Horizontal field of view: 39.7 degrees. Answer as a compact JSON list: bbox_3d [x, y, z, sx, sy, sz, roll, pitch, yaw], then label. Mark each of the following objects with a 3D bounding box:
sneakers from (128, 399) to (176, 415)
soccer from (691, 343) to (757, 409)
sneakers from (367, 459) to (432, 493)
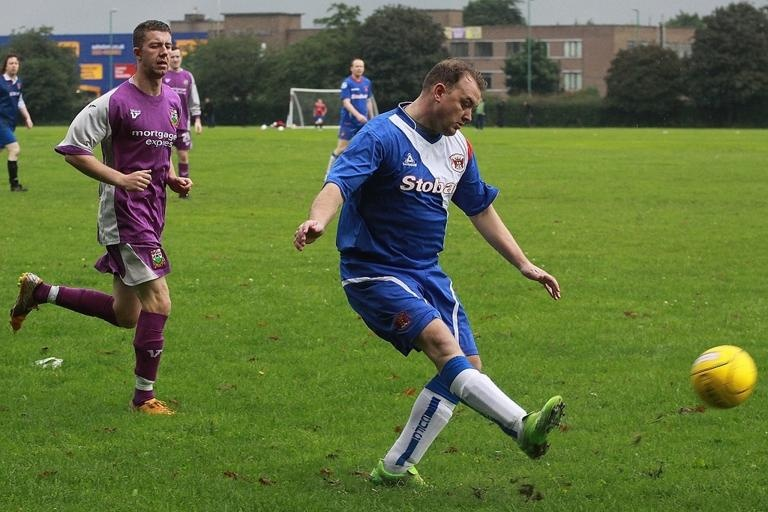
[{"bbox_3d":[-2.363,1.576,10.919,0.343,0.131,0.186,1,4,-4],"label":"sneakers"},{"bbox_3d":[3.161,1.171,10.045,0.616,0.611,0.620,4,-7,22],"label":"soccer"},{"bbox_3d":[0.116,2.055,9.992,0.615,0.263,0.224,6,6,-6],"label":"sneakers"}]
